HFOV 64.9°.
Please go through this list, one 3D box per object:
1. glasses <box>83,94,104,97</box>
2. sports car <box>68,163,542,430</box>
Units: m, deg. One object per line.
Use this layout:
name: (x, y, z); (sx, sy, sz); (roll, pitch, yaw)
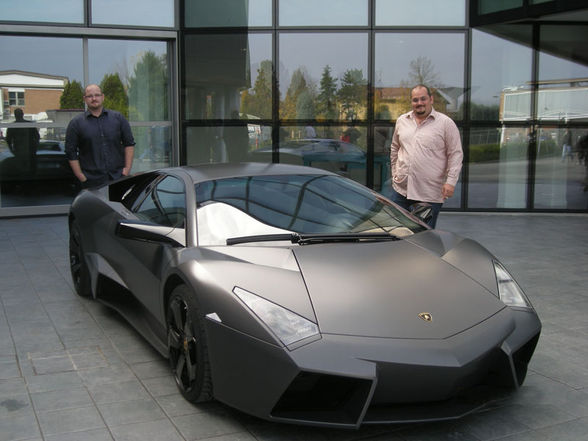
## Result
glasses: (-2.687, -1.679, 6.198); (0.213, 0.054, 0.108); (-6, 14, -21)
sports car: (-0.285, 0.394, 3.454); (1.684, 0.944, 2.933); (-3, 9, -28)
